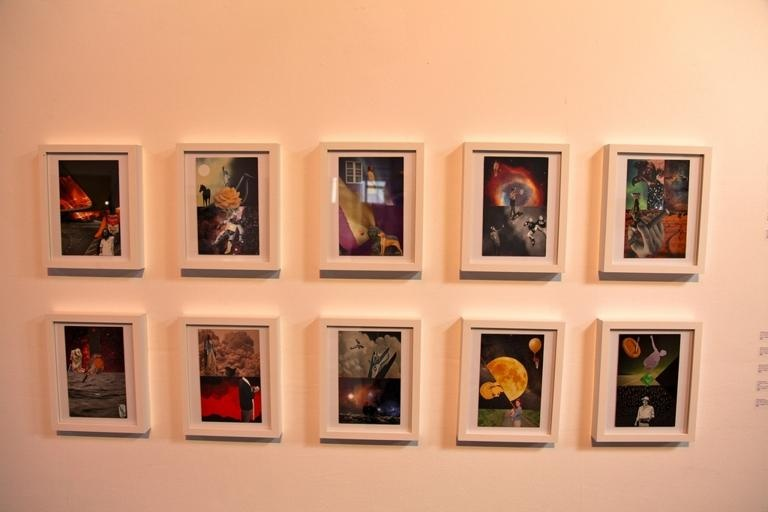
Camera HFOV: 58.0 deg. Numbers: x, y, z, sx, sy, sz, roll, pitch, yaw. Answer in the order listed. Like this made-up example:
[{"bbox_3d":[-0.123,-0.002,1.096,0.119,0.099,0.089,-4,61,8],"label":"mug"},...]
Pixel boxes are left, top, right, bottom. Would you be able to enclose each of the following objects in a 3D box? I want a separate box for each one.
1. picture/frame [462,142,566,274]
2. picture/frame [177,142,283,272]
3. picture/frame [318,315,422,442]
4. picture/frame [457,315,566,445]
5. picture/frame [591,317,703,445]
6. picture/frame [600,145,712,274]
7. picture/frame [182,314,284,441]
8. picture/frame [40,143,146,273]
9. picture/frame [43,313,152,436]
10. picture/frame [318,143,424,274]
[{"bbox_3d":[0.486,-0.204,2.607,0.469,0.630,0.047,1,3,-1],"label":"picture/frame"},{"bbox_3d":[-0.592,-0.208,2.623,0.471,0.629,0.051,0,2,0],"label":"picture/frame"},{"bbox_3d":[-0.056,0.450,2.649,0.466,0.576,0.048,0,3,2],"label":"picture/frame"},{"bbox_3d":[0.480,0.454,2.645,0.459,0.613,0.049,2,4,0],"label":"picture/frame"},{"bbox_3d":[0.996,0.460,2.644,0.464,0.579,0.059,0,4,-1],"label":"picture/frame"},{"bbox_3d":[1.016,-0.189,2.604,0.458,0.594,0.046,1,3,-1],"label":"picture/frame"},{"bbox_3d":[-0.587,0.446,2.660,0.461,0.591,0.057,-1,3,0],"label":"picture/frame"},{"bbox_3d":[-1.122,-0.201,2.636,0.465,0.631,0.066,0,5,-2],"label":"picture/frame"},{"bbox_3d":[-1.110,0.443,2.675,0.452,0.585,0.044,-1,2,2],"label":"picture/frame"},{"bbox_3d":[-0.049,-0.200,2.610,0.454,0.608,0.050,2,4,-2],"label":"picture/frame"}]
